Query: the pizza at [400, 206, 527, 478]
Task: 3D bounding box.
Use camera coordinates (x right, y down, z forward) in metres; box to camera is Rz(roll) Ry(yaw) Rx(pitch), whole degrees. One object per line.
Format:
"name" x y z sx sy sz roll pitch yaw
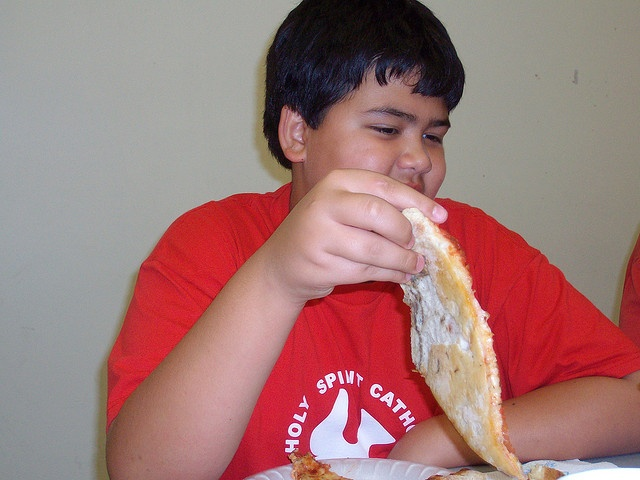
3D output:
"pizza" 0.337 0.265 1.482 0.113 0.629 0.371 -11 9 -12
